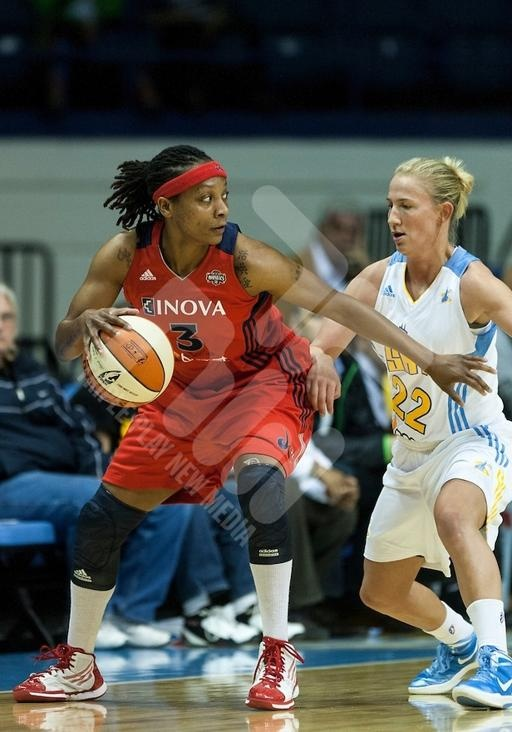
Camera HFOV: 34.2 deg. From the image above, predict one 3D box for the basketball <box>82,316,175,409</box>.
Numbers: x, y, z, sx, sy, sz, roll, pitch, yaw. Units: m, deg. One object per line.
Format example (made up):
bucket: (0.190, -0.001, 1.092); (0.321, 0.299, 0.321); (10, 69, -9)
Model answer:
basketball: (-0.322, -0.016, 2.047); (0.225, 0.231, 0.143); (-1, -2, -3)

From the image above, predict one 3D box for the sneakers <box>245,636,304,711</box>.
sneakers: (0.048, 0.754, 2.030); (0.106, 0.090, 0.223); (1, -8, 9)

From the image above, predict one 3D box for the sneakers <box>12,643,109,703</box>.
sneakers: (-0.506, 0.833, 2.271); (0.327, 0.153, 0.109); (0, -13, -4)
